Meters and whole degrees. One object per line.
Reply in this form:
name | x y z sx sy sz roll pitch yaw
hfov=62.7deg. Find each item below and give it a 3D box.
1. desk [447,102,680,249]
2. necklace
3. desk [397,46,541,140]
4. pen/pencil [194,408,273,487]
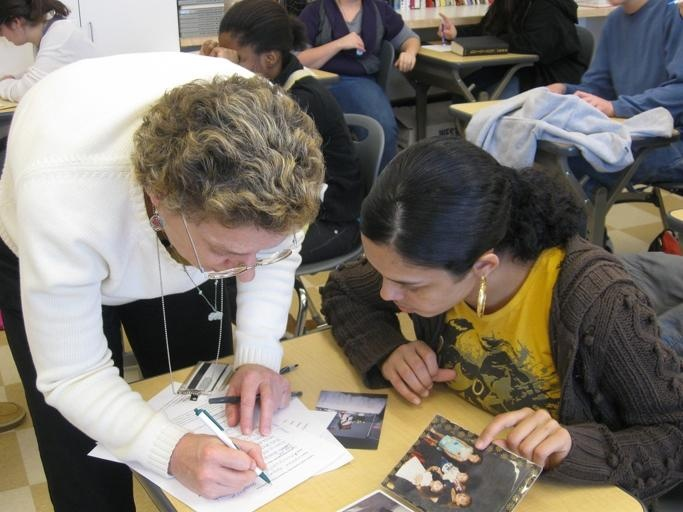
desk | 1.216 -0.326 2.981 0.817 0.847 1.063 -10 20 -26
necklace | -0.388 0.042 1.620 0.068 0.257 0.243 -13 -3 17
desk | 1.067 -1.203 4.889 0.997 1.184 1.205 6 24 7
pen/pencil | -0.228 0.415 1.202 0.022 0.156 0.022 -40 -7 -1
